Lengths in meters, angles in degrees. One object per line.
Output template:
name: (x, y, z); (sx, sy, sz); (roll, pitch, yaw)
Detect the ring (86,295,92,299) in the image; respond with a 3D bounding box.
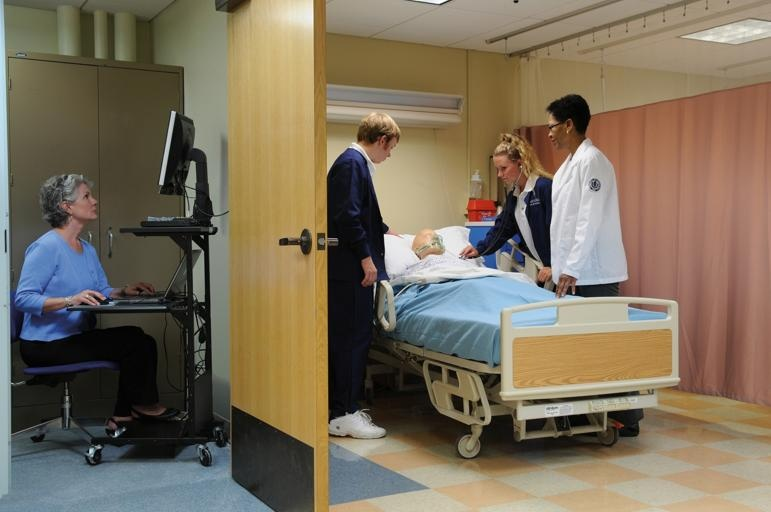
ring: (-1.884, 0.272, 4.271); (0.016, 0.019, 0.029); (-6, 13, -35)

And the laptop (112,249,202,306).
laptop: (-1.437, 0.186, 4.379); (0.402, 0.269, 0.436); (1, 2, -8)

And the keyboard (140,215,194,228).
keyboard: (-1.359, -0.199, 4.223); (0.302, 0.049, 0.204); (-3, 8, -15)

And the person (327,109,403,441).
person: (-0.185, 0.105, 4.875); (0.622, 2.265, 0.778); (2, -1, 6)

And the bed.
bed: (0.732, 0.496, 4.690); (1.130, 0.994, 1.844); (-2, 2, -24)

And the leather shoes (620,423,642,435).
leather shoes: (1.648, 1.167, 4.538); (0.110, 0.102, 0.107); (1, -13, -17)

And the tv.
tv: (-1.302, -0.558, 4.362); (0.313, 0.722, 0.373); (-3, 8, -18)

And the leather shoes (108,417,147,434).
leather shoes: (-1.737, 1.121, 4.463); (0.103, 0.042, 0.170); (11, 12, 40)

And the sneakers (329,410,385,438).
sneakers: (-0.192, 1.161, 4.687); (0.418, 0.186, 0.156); (4, 2, 5)

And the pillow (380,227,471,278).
pillow: (0.337, -0.037, 5.579); (0.615, 0.398, 0.182); (-9, -17, -2)

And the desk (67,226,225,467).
desk: (-1.601, 0.568, 4.502); (0.946, 1.489, 0.946); (1, 2, -10)
